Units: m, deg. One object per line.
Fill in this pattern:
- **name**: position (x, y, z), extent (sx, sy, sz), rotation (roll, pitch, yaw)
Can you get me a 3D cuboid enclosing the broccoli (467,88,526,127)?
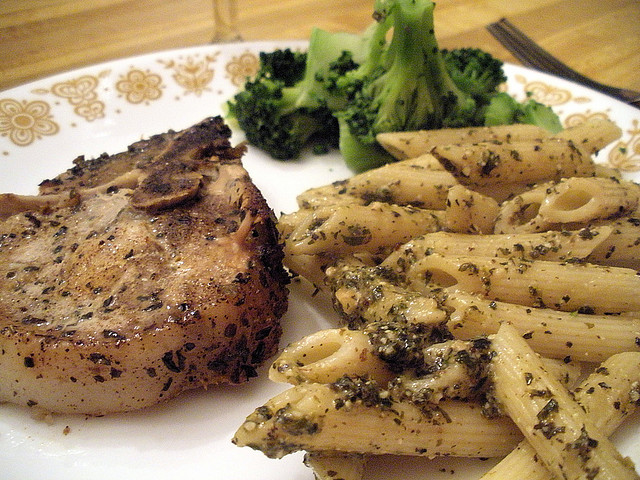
- **broccoli**: position (1.248, -0.937, 4.523), extent (0.347, 0.305, 0.090), rotation (-17, -21, 5)
